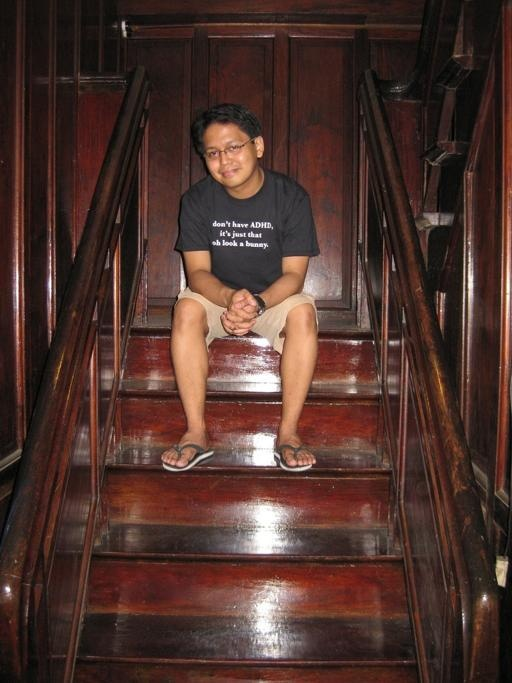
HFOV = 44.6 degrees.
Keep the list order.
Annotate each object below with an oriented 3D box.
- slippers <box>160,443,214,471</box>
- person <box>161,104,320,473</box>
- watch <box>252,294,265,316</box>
[{"bbox_3d":[-0.192,0.325,1.818,0.058,0.062,0.156,1,2,29],"label":"slippers"},{"bbox_3d":[-0.021,-0.228,2.048,0.507,1.029,0.830,1,17,-4],"label":"person"},{"bbox_3d":[0.010,-0.111,1.958,0.029,0.060,0.078,9,19,22],"label":"watch"}]
